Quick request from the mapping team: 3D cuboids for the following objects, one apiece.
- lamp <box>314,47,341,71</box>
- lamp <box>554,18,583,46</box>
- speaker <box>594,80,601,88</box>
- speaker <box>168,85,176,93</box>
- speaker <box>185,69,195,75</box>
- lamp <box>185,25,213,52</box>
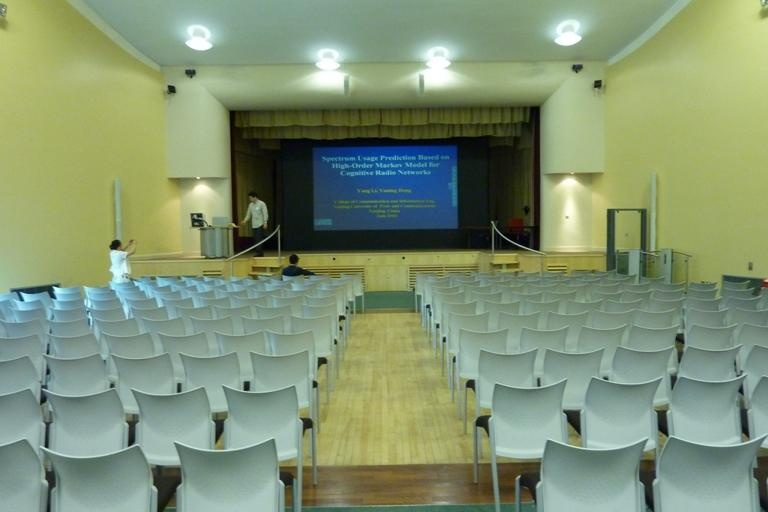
[{"bbox_3d":[-1.344,-4.663,16.510,0.395,0.105,0.424,-4,-26,5],"label":"lamp"},{"bbox_3d":[4.069,-4.935,15.417,0.540,0.428,0.676,-1,5,14],"label":"lamp"},{"bbox_3d":[5.351,-4.285,17.353,0.233,0.188,0.209,-3,5,-3],"label":"speaker"},{"bbox_3d":[-5.306,-4.158,17.391,0.177,0.238,0.183,-5,15,-28],"label":"speaker"},{"bbox_3d":[-4.807,-4.558,17.257,0.119,0.117,0.170,-1,13,-9],"label":"speaker"},{"bbox_3d":[-4.115,-4.827,15.397,0.427,0.122,0.453,-5,-11,5],"label":"lamp"}]
